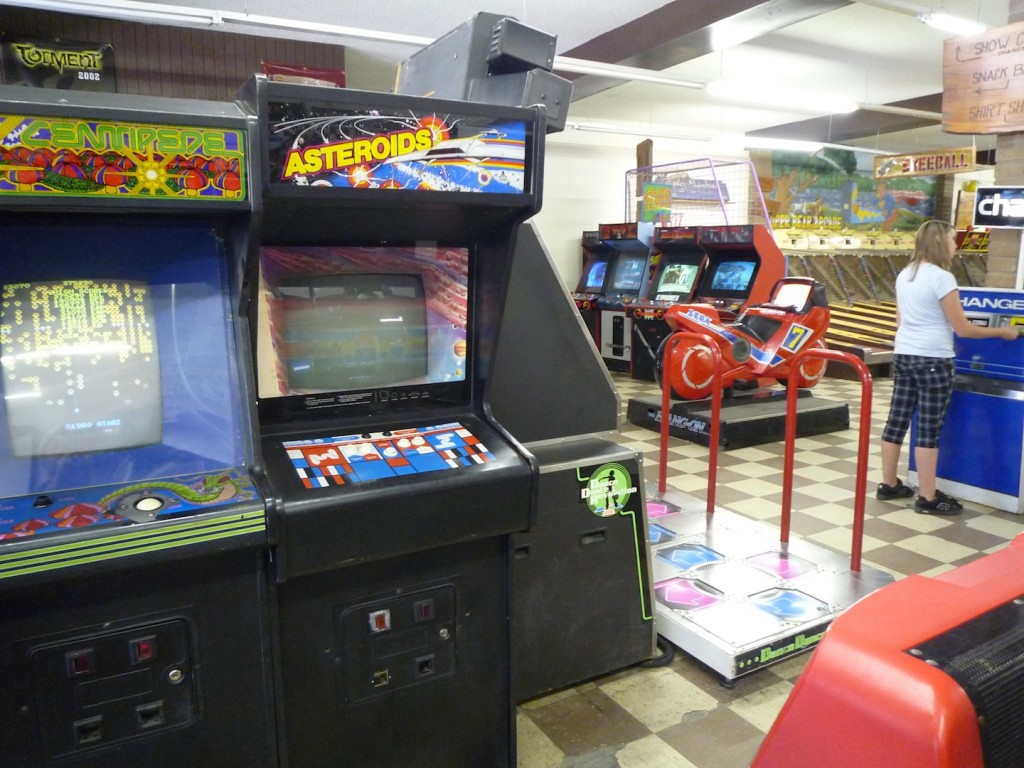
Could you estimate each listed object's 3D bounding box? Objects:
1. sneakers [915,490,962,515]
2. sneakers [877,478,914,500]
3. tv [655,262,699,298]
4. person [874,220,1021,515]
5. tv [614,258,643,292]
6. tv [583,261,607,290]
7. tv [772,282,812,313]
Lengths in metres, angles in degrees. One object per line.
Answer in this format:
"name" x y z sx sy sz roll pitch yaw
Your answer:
"sneakers" 2.363 0.675 4.249 0.264 0.114 0.108 -1 3 -2
"sneakers" 2.286 0.622 4.489 0.248 0.103 0.093 -3 7 -24
"tv" 1.821 -1.148 8.366 0.302 0.366 0.563 -6 14 -26
"person" 2.374 -0.088 4.204 0.528 1.603 0.452 1 14 4
"tv" 1.437 -1.322 9.225 0.046 0.409 0.424 19 7 -29
"tv" 1.089 -1.413 9.806 0.090 0.333 0.381 15 -2 -41
"tv" 2.439 -0.775 6.601 0.280 0.224 0.509 3 13 12
